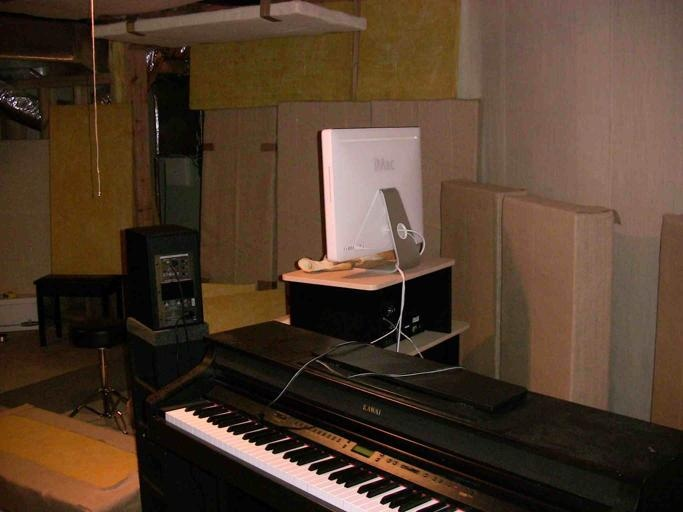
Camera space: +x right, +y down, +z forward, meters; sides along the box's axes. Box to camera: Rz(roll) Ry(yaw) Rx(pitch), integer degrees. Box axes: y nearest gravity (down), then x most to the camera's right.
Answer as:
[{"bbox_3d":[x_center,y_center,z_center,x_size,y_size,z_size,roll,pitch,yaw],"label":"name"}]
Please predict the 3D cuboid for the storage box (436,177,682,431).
[{"bbox_3d":[1.268,0.263,3.621,0.469,1.202,1.204,-8,11,-36],"label":"storage box"}]

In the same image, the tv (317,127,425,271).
[{"bbox_3d":[0.165,-0.299,3.466,0.643,0.661,0.112,-13,19,-36],"label":"tv"}]

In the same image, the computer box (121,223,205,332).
[{"bbox_3d":[-1.086,0.114,3.977,0.310,0.584,0.453,-7,10,-39],"label":"computer box"}]

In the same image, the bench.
[{"bbox_3d":[-2.316,0.474,5.771,0.559,0.571,0.364,1,19,2],"label":"bench"}]
